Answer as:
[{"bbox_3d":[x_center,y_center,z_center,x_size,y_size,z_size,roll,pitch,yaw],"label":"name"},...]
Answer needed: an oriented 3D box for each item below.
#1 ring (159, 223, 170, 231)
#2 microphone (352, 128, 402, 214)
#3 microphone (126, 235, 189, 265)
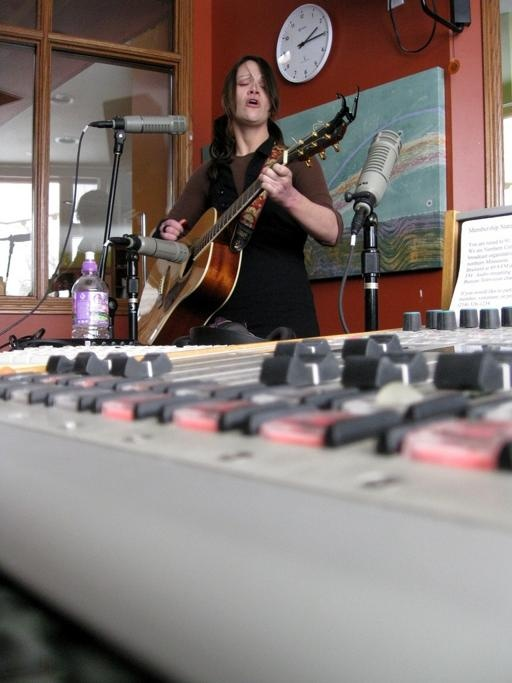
[{"bbox_3d":[-0.317,-0.403,1.861,0.012,0.033,0.025,38,-1,-32],"label":"ring"},{"bbox_3d":[0.315,-0.451,1.361,0.112,0.215,0.261,-5,9,21],"label":"microphone"},{"bbox_3d":[-0.292,-0.280,1.625,0.058,0.064,0.224,-2,0,31],"label":"microphone"}]
